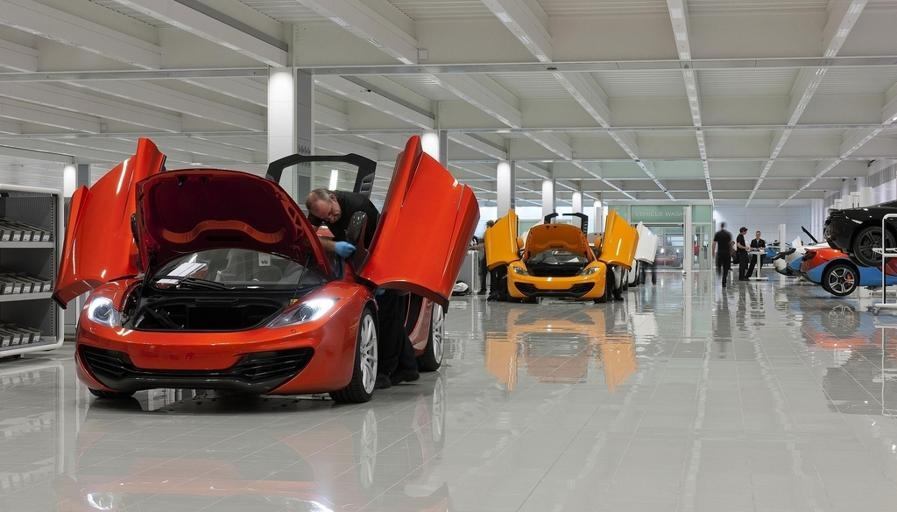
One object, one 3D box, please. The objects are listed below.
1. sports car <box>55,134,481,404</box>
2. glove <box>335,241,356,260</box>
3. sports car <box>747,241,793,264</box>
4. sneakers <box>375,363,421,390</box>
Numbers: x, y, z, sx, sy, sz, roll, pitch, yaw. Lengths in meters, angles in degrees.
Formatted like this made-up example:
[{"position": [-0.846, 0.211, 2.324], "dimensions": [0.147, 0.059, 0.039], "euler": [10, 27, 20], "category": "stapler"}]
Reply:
[{"position": [-1.587, 0.393, 6.296], "dimensions": [4.421, 1.744, 3.338], "euler": [0, -6, 12], "category": "sports car"}, {"position": [-1.049, -0.068, 5.592], "dimensions": [0.163, 0.167, 0.186], "euler": [-17, 7, -7], "category": "glove"}, {"position": [16.977, -0.191, 28.749], "dimensions": [3.477, 0.778, 1.974], "euler": [-3, 2, -38], "category": "sports car"}, {"position": [-0.537, 1.311, 5.883], "dimensions": [0.514, 0.169, 0.165], "euler": [4, -1, -38], "category": "sneakers"}]
